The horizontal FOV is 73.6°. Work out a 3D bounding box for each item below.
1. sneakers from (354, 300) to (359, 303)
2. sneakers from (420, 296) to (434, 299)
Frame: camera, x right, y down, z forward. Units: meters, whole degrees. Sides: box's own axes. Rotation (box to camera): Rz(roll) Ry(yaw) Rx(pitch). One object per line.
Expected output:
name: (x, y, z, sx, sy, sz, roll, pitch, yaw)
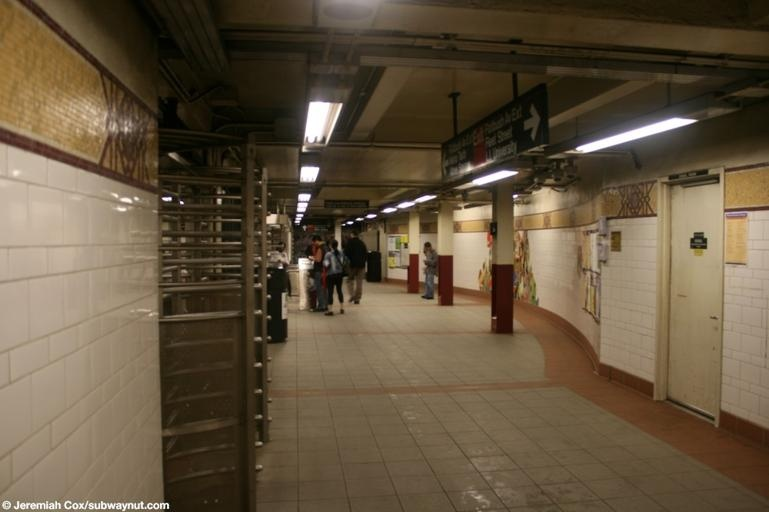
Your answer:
sneakers: (-0.737, 1.295, 14.242, 0.129, 0.093, 0.071, 1, 0, -2)
sneakers: (1.305, 1.287, 15.715, 0.352, 0.150, 0.127, -2, 4, 6)
